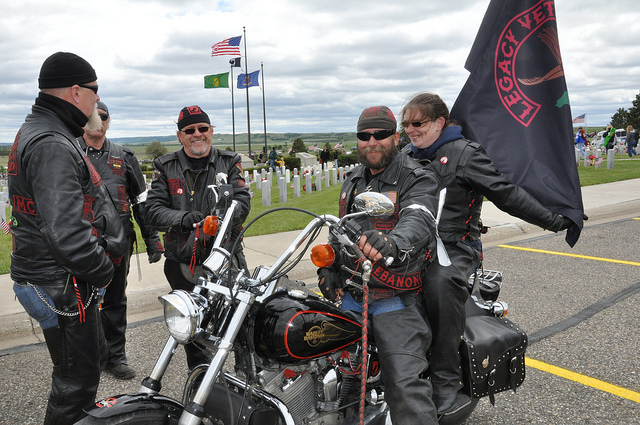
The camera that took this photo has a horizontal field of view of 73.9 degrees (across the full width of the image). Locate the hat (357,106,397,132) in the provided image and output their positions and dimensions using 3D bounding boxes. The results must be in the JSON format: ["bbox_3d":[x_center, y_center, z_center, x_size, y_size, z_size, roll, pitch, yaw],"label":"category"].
[{"bbox_3d":[0.497,-0.783,3.622,0.354,0.226,0.364,0,1,15],"label":"hat"}]

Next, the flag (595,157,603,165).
[{"bbox_3d":[14.058,-2.580,21.416,0.303,0.293,0.843,4,12,29],"label":"flag"}]

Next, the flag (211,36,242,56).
[{"bbox_3d":[-5.602,-10.073,25.769,1.856,1.357,1.273,-8,13,-30],"label":"flag"}]

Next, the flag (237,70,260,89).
[{"bbox_3d":[-5.838,-10.785,34.679,1.674,1.243,0.881,5,13,32],"label":"flag"}]

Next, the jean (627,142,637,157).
[{"bbox_3d":[19.478,-3.931,26.594,0.637,0.886,0.229,-9,13,-31],"label":"jean"}]

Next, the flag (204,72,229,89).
[{"bbox_3d":[-7.035,-9.046,29.313,1.477,1.082,2.176,-6,12,-18],"label":"flag"}]

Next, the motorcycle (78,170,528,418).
[{"bbox_3d":[0.116,0.602,3.666,3.376,1.974,1.717,-3,4,-33],"label":"motorcycle"}]

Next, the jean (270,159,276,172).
[{"bbox_3d":[-3.052,-3.142,27.947,0.233,0.721,0.591,-4,11,-9],"label":"jean"}]
